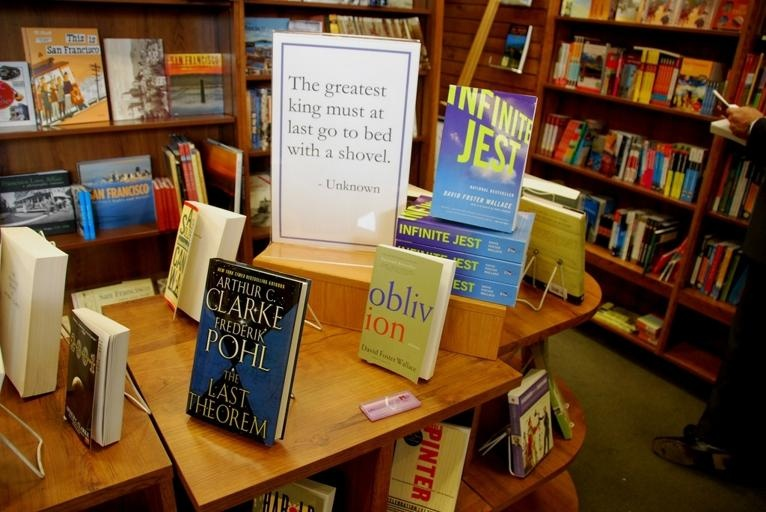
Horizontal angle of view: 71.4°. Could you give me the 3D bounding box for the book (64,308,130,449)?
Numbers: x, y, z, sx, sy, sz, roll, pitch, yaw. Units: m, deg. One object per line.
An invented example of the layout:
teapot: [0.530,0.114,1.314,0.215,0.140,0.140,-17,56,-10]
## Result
book: [-0.917,0.410,1.709,0.149,0.417,0.317,-7,21,-43]
